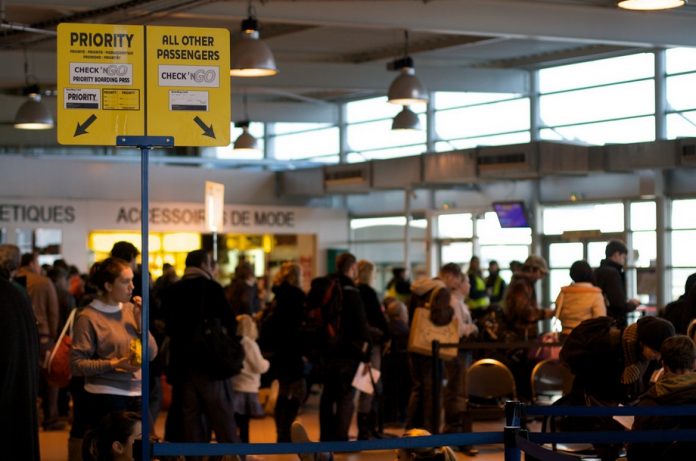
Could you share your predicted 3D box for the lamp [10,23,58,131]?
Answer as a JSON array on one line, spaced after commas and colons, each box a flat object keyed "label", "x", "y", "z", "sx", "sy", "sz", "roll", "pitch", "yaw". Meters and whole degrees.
[{"label": "lamp", "x": -5.171, "y": -2.578, "z": 20.789, "sx": 1.295, "sy": 1.619, "sz": 0.589, "roll": -3, "pitch": 15, "yaw": -29}]

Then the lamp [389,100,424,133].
[{"label": "lamp", "x": 0.960, "y": -1.844, "z": 20.368, "sx": 0.428, "sy": 0.430, "sz": 0.422, "roll": 3, "pitch": -7, "yaw": -20}]

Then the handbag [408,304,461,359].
[{"label": "handbag", "x": 1.105, "y": 1.249, "z": 15.748, "sx": 0.628, "sy": 0.529, "sz": 0.205, "roll": 11, "pitch": -2, "yaw": -10}]

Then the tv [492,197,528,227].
[{"label": "tv", "x": 3.165, "y": -0.385, "z": 24.244, "sx": 0.526, "sy": 0.516, "sz": 0.056, "roll": -6, "pitch": 7, "yaw": 30}]

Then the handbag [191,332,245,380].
[{"label": "handbag", "x": -1.490, "y": 1.442, "z": 14.597, "sx": 0.564, "sy": 0.480, "sz": 0.461, "roll": -2, "pitch": -2, "yaw": -8}]
